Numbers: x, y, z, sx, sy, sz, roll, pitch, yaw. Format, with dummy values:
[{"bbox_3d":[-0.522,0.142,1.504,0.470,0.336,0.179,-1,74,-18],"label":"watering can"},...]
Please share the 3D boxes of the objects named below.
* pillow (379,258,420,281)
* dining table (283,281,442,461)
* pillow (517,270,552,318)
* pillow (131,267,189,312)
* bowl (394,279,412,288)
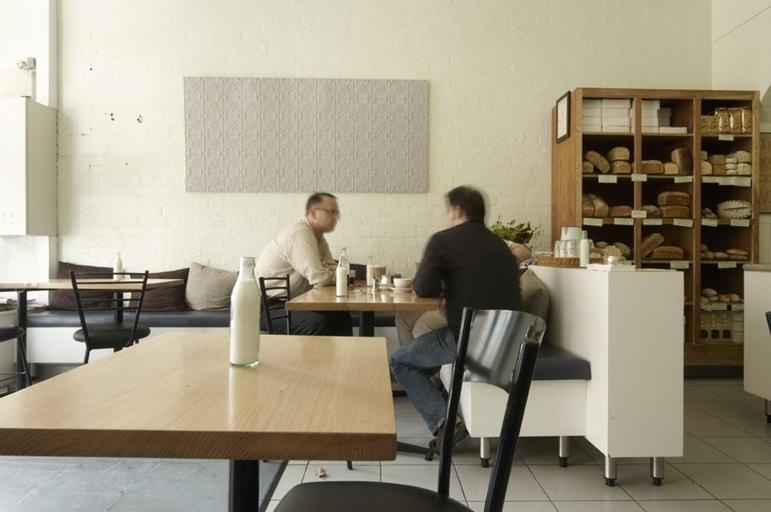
[{"bbox_3d":[0.172,0.140,7.034,0.262,0.329,0.230,3,-6,2],"label":"pillow"},{"bbox_3d":[-0.177,0.873,5.571,1.226,1.149,1.223,0,-7,-1],"label":"dining table"},{"bbox_3d":[1.148,0.299,5.399,0.331,0.330,0.133,9,-33,-21],"label":"pillow"},{"bbox_3d":[-2.196,0.344,6.672,0.397,0.326,0.152,2,-30,-10],"label":"pillow"},{"bbox_3d":[0.139,0.218,5.539,0.086,0.043,0.088,-1,-4,0],"label":"bowl"}]
